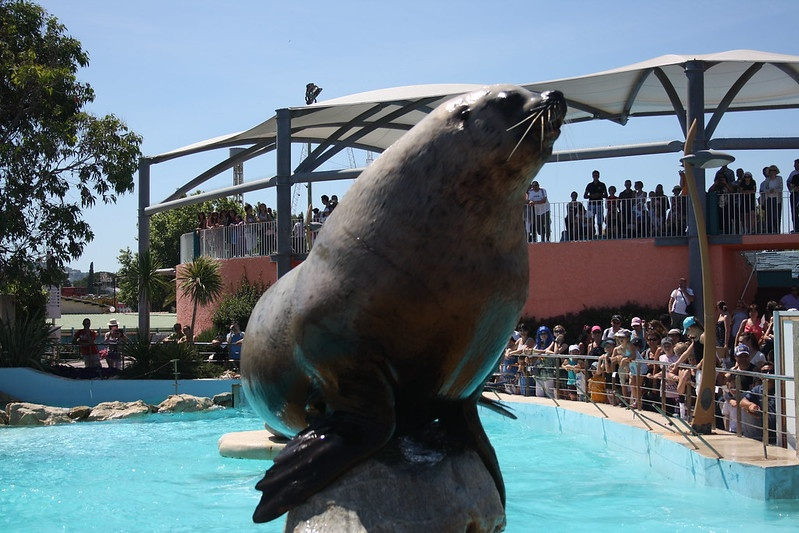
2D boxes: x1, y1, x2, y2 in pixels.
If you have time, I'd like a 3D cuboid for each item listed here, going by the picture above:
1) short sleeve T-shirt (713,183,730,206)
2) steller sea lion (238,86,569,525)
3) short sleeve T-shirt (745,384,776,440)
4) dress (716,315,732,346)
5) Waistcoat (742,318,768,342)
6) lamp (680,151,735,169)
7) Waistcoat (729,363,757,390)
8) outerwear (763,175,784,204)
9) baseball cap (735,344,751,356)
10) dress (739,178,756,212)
[{"bbox_3d":[9.135,-2.097,25.634,0.518,0.717,0.254,15,-20,0],"label":"short sleeve T-shirt"},{"bbox_3d":[-0.084,0.329,13.484,4.388,5.844,4.168,2,-3,-15],"label":"steller sea lion"},{"bbox_3d":[6.669,2.693,16.597,0.859,0.904,0.339,1,2,-21],"label":"short sleeve T-shirt"},{"bbox_3d":[7.502,1.496,20.845,0.394,0.759,0.581,2,-6,11],"label":"dress"},{"bbox_3d":[7.751,1.399,19.642,0.331,0.493,0.279,7,-20,20],"label":"Waistcoat"},{"bbox_3d":[5.691,-1.947,16.654,0.911,0.308,0.812,-4,6,-40],"label":"lamp"},{"bbox_3d":[6.625,2.110,17.220,0.413,0.430,1.039,-4,-9,7],"label":"Waistcoat"},{"bbox_3d":[10.161,-2.066,24.603,0.523,0.658,0.850,1,5,19],"label":"outerwear"},{"bbox_3d":[6.542,1.595,17.200,0.200,0.154,0.284,-1,-4,7],"label":"baseball cap"},{"bbox_3d":[9.802,-1.889,25.339,0.434,1.446,0.440,-1,-8,18],"label":"dress"}]
